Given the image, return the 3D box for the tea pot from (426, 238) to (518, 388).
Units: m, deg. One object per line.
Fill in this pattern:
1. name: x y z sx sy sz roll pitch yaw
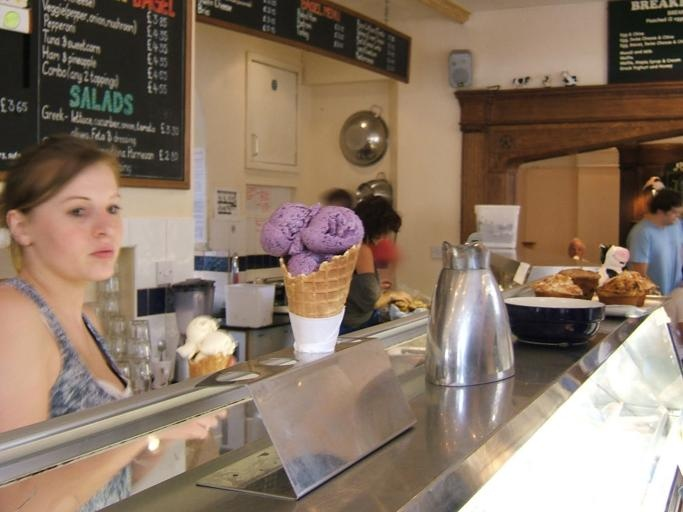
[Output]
1. tea pot: 0.271 0.125 1.174 0.176 0.291 0.088 1 9 16

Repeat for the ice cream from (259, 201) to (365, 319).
1. ice cream: -0.074 0.007 1.117 0.216 0.235 0.193 -1 3 -15

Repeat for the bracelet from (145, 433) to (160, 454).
1. bracelet: -0.271 0.270 0.800 0.008 0.023 0.017 -4 -4 29

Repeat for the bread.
1. bread: 0.882 0.111 1.950 0.296 0.098 0.197 -1 0 18

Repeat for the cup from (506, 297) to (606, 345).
1. cup: 0.586 0.172 1.525 0.236 0.118 0.248 -1 9 0

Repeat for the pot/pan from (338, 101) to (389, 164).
1. pot/pan: 0.241 -1.243 5.862 0.549 0.623 0.120 3 10 28
